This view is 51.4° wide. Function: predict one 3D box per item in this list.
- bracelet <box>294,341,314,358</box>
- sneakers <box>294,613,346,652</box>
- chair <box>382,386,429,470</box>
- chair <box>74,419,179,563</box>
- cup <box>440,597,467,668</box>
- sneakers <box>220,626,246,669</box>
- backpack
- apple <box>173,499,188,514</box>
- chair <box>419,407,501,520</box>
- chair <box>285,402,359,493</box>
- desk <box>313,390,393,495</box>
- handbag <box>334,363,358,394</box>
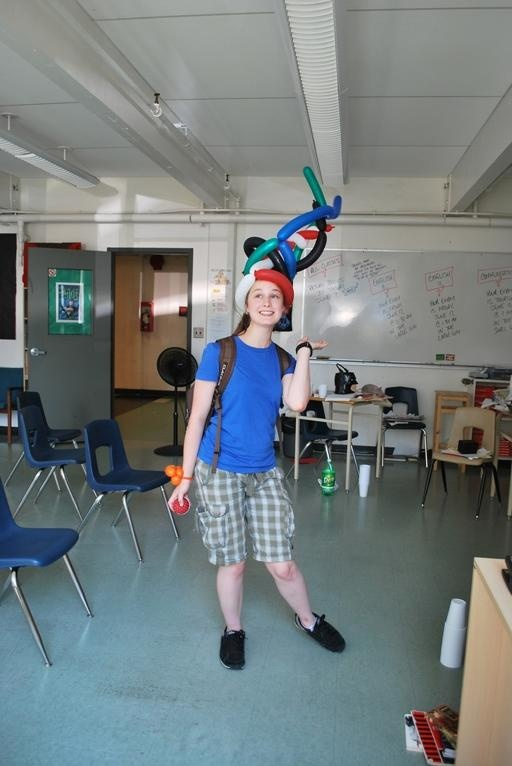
[{"bbox_3d":[0.178,-0.123,1.872,0.040,0.058,0.022,6,-9,30],"label":"bracelet"},{"bbox_3d":[0.272,0.987,2.126,0.228,0.085,0.094,33,-17,39],"label":"sneakers"},{"bbox_3d":[1.525,0.445,5.492,0.435,0.767,0.500,0,1,1],"label":"chair"},{"bbox_3d":[-0.782,0.603,3.113,0.607,0.761,0.596,-5,5,-40],"label":"chair"},{"bbox_3d":[0.759,0.938,2.045,0.085,0.271,0.179,3,4,23],"label":"cup"},{"bbox_3d":[-0.080,0.977,1.934,0.056,0.059,0.145,3,-6,-5],"label":"sneakers"},{"bbox_3d":[-0.032,0.076,1.839,0.365,0.464,0.173,1,4,-12],"label":"backpack"},{"bbox_3d":[-0.257,0.413,1.789,0.052,0.063,0.102,1,4,-9],"label":"apple"},{"bbox_3d":[1.578,0.588,4.026,0.425,0.736,0.484,7,8,41],"label":"chair"},{"bbox_3d":[0.651,0.440,4.907,0.499,0.752,0.463,2,3,33],"label":"chair"},{"bbox_3d":[0.772,0.486,4.881,0.678,0.745,0.808,1,5,24],"label":"desk"},{"bbox_3d":[0.824,-0.045,4.998,0.251,0.367,0.263,-1,4,7],"label":"handbag"}]
